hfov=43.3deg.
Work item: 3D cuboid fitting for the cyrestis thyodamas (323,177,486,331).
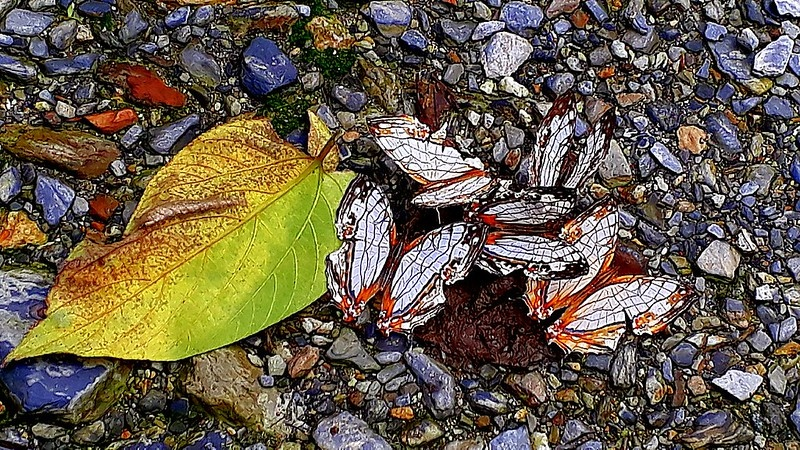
[{"bbox_3d":[-0.021,0.095,2.662,0.439,0.053,0.390,25,86,31],"label":"cyrestis thyodamas"}]

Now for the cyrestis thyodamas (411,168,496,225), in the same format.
[{"bbox_3d":[0.140,-0.105,2.646,0.167,0.230,0.073,21,58,-18],"label":"cyrestis thyodamas"}]
